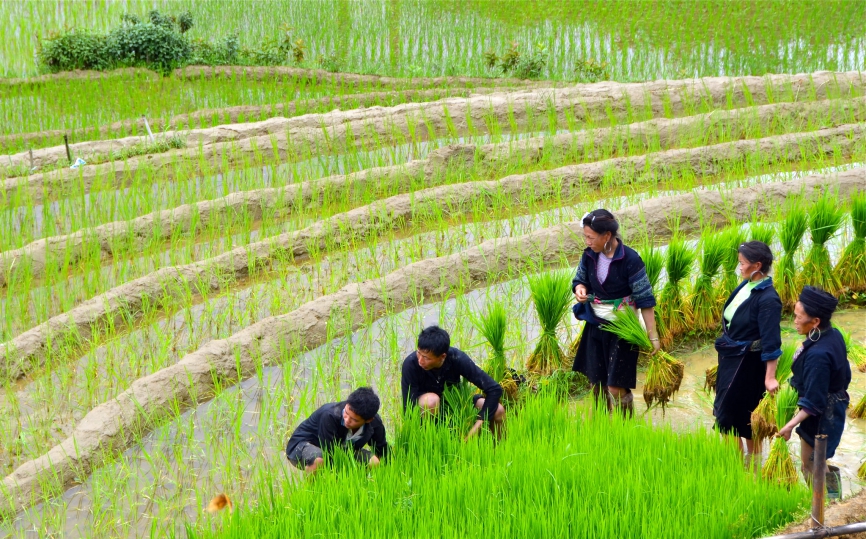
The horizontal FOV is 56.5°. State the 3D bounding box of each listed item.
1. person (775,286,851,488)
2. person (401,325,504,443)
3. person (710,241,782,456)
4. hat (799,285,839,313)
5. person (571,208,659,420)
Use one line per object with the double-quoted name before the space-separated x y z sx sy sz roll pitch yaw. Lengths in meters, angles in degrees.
"person" 3.771 1.151 7.949 0.498 1.961 0.746 12 22 44
"person" 0.212 1.208 8.557 1.083 1.353 0.464 -5 16 -4
"person" 3.268 0.741 8.339 0.595 2.016 0.447 2 17 19
"hat" 3.754 0.297 7.863 0.318 0.275 0.184 -2 16 4
"person" 1.995 0.466 8.881 0.893 2.253 0.512 0 16 11
